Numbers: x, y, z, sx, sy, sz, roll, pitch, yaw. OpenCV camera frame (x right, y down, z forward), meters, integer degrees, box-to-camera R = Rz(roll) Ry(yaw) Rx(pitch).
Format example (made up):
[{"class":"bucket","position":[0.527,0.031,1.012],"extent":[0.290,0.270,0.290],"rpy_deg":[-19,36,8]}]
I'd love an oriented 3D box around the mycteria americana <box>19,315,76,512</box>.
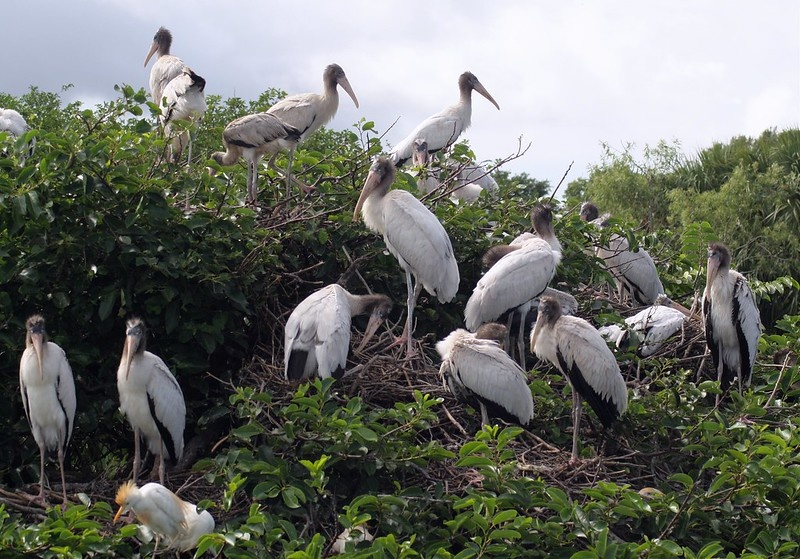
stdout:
[{"class":"mycteria americana","position":[-3.314,1.122,7.923],"extent":[0.408,1.564,0.392],"rpy_deg":[-12,-7,32]}]
